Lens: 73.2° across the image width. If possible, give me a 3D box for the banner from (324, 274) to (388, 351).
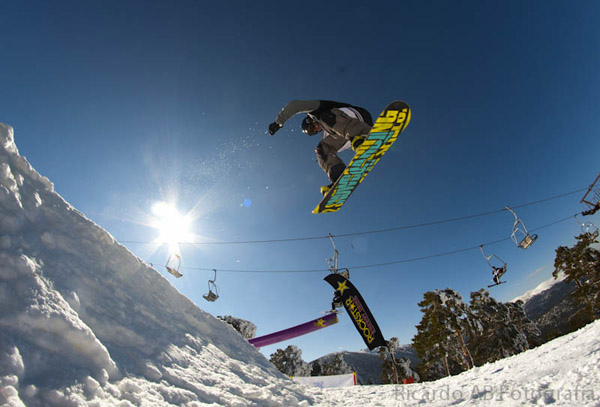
[{"bbox_3d":[2.231,4.102,15.346,0.910,2.922,1.585,-28,-41,10],"label":"banner"}]
